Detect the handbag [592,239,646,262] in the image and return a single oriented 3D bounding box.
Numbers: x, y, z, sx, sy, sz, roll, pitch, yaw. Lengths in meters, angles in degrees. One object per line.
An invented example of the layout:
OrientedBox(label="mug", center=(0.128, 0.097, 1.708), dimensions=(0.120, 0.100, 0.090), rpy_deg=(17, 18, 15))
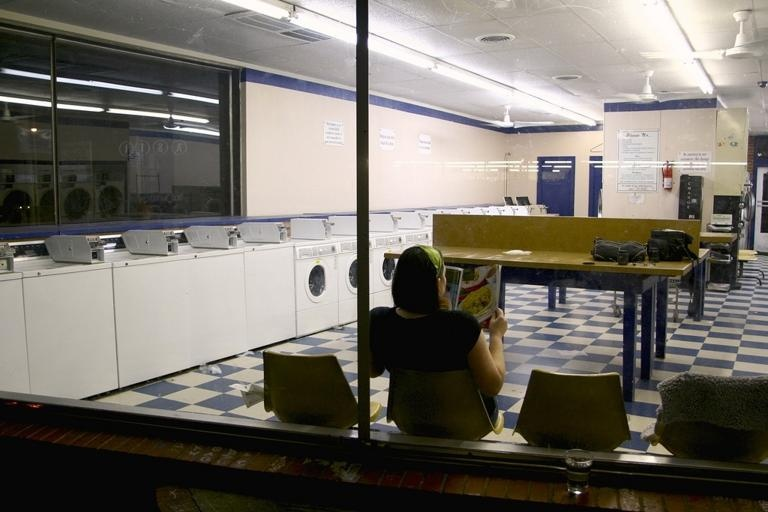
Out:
OrientedBox(label="handbag", center=(1.384, -0.026, 3.181), dimensions=(0.229, 0.082, 0.168), rpy_deg=(4, 7, 15))

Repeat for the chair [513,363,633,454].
OrientedBox(label="chair", center=(0.807, 0.692, 2.398), dimensions=(0.526, 0.330, 0.258), rpy_deg=(4, -13, 0))

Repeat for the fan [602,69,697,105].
OrientedBox(label="fan", center=(1.327, -0.853, 2.706), dimensions=(0.415, 0.133, 0.180), rpy_deg=(2, 8, 20))

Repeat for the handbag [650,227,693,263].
OrientedBox(label="handbag", center=(1.759, -0.067, 3.335), dimensions=(0.205, 0.173, 0.261), rpy_deg=(-3, 3, -29))

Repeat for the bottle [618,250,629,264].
OrientedBox(label="bottle", center=(1.394, 0.004, 3.143), dimensions=(0.107, 0.082, 0.025), rpy_deg=(-7, 9, -36))

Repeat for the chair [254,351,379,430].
OrientedBox(label="chair", center=(-0.290, 0.637, 2.661), dimensions=(0.577, 0.354, 0.470), rpy_deg=(-4, -1, 15))

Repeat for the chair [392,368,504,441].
OrientedBox(label="chair", center=(0.253, 0.603, 2.403), dimensions=(0.422, 0.250, 0.365), rpy_deg=(-2, -10, 17))

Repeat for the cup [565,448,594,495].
OrientedBox(label="cup", center=(0.730, 0.862, 2.119), dimensions=(0.102, 0.150, 0.135), rpy_deg=(-5, -27, 41))

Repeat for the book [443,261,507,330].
OrientedBox(label="book", center=(0.459, 0.203, 2.791), dimensions=(0.276, 0.289, 0.100), rpy_deg=(4, -17, 33))
